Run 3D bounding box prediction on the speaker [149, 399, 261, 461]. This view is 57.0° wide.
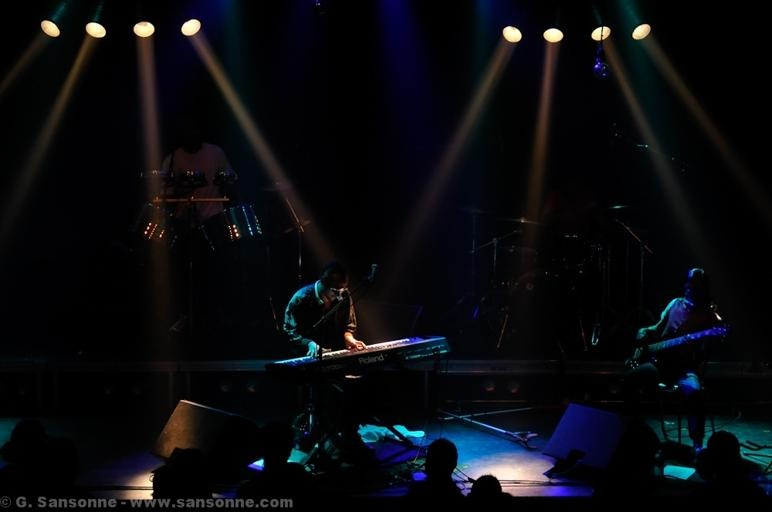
[{"bbox_3d":[-2.043,1.887,7.758,0.889,0.602,0.696,1,-6,34],"label":"speaker"}]

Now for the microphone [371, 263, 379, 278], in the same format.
[{"bbox_3d":[-0.140,0.175,8.701,0.093,0.089,0.204,-23,1,12],"label":"microphone"}]

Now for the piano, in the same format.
[{"bbox_3d":[-0.315,1.215,8.478,2.189,0.592,0.410,7,-8,-28],"label":"piano"}]

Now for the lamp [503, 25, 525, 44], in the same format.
[{"bbox_3d":[1.889,-3.301,10.607,0.307,0.255,0.446,3,-7,9],"label":"lamp"}]

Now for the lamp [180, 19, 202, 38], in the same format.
[{"bbox_3d":[-2.885,-3.364,10.524,0.273,0.251,0.383,4,-7,-3],"label":"lamp"}]

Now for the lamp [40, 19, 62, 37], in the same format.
[{"bbox_3d":[-4.775,-3.268,10.073,0.258,0.060,0.252,0,-37,-1],"label":"lamp"}]

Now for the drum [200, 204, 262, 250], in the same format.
[{"bbox_3d":[-2.121,-0.404,9.695,0.807,0.582,0.346,1,-7,23],"label":"drum"}]
